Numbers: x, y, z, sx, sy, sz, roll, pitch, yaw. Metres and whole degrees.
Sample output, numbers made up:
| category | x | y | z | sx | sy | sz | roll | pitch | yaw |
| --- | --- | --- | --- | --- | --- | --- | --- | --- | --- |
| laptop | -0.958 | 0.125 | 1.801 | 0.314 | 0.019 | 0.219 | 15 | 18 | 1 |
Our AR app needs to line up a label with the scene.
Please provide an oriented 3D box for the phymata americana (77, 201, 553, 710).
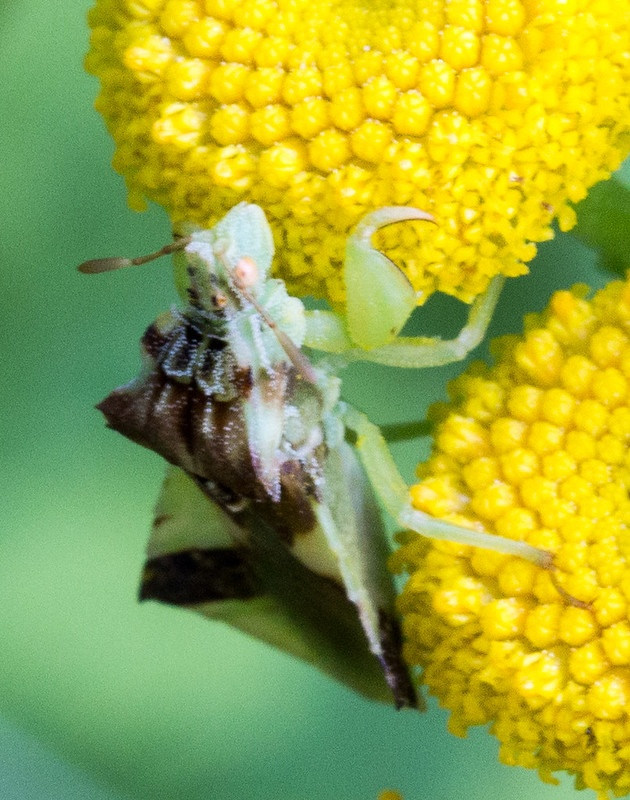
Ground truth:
| category | x | y | z | sx | sy | sz | roll | pitch | yaw |
| --- | --- | --- | --- | --- | --- | --- | --- | --- | --- |
| phymata americana | -0.006 | 0.018 | 0.624 | 0.442 | 0.124 | 0.291 | 2 | 106 | 2 |
